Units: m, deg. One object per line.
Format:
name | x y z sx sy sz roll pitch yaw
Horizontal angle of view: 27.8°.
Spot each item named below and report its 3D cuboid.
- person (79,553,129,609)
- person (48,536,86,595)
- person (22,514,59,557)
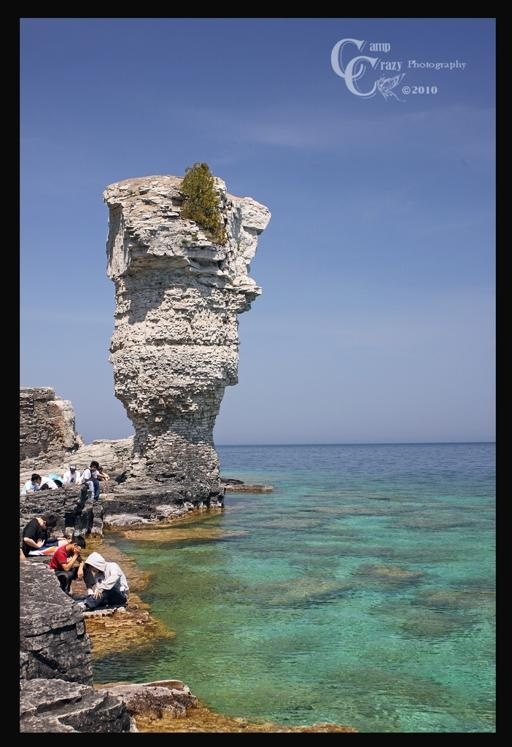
person | -2.161 2.869 14.448 0.432 0.857 0.886 -1 -2 19
person | -2.462 2.497 13.512 0.473 0.705 0.406 8 15 -13
person | -3.063 2.259 14.630 0.424 0.557 0.725 0 -2 -14
